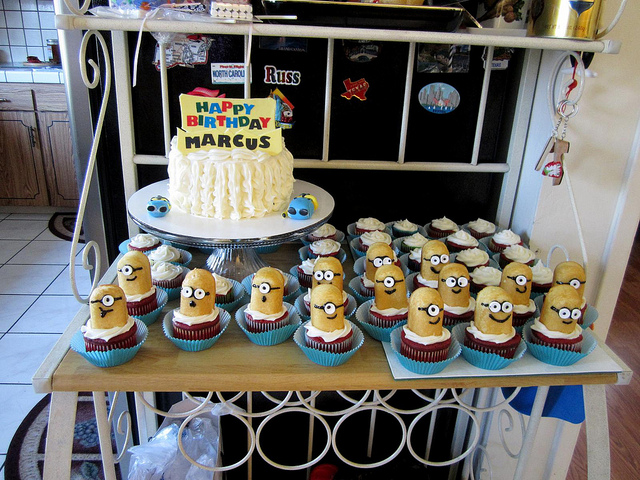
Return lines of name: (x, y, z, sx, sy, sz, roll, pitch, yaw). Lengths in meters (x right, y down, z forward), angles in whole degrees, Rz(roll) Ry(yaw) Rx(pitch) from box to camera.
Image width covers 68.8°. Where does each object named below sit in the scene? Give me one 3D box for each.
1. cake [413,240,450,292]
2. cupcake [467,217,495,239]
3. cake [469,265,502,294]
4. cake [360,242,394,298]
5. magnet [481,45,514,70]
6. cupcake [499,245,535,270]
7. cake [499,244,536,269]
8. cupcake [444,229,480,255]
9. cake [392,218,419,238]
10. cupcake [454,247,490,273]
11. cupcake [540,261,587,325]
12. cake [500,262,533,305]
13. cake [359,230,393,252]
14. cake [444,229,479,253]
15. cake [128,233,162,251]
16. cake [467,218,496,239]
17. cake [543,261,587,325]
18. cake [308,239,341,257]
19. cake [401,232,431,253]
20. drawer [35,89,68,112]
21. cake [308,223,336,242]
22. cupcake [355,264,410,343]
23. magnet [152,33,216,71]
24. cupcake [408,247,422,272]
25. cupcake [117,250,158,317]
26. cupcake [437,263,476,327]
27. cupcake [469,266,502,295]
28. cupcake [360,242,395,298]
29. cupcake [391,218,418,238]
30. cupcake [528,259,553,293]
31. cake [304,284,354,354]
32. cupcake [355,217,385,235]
cake: (0.313, 0.085, 1.270, 0.123, 0.164, 0.118, -2, 9, 2)
cupcake: (0.530, -0.041, 1.531, 0.064, 0.051, 0.071, 8, 12, 24)
cake: (0.444, 0.101, 1.256, 0.079, 0.065, 0.077, 1, 18, 2)
cake: (0.166, 0.086, 1.253, 0.125, 0.162, 0.126, -2, 12, 6)
magnet: (0.543, -0.574, 1.465, 0.068, 0.067, 0.139, 21, 30, 37)
cupcake: (0.571, 0.038, 1.398, 0.090, 0.087, 0.088, 3, 12, -7)
cake: (0.579, 0.044, 1.372, 0.084, 0.073, 0.082, 2, 13, -7)
cupcake: (0.432, 0.003, 1.434, 0.085, 0.058, 0.085, 10, 17, 28)
cake: (0.275, -0.039, 1.517, 0.065, 0.047, 0.064, -15, 26, -34)
cupcake: (0.433, 0.052, 1.334, 0.079, 0.058, 0.080, 2, 18, 5)
cupcake: (0.638, 0.144, 1.213, 0.102, 0.170, 0.100, 3, 13, 7)
cake: (0.504, 0.113, 1.190, 0.080, 0.114, 0.080, -3, 9, -26)
cake: (0.164, -0.005, 1.417, 0.070, 0.053, 0.074, 5, 8, 10)
cake: (0.429, -0.002, 1.433, 0.082, 0.056, 0.082, 10, 17, 29)
cake: (-0.520, 0.004, 1.374, 0.060, 0.025, 0.060, 9, 19, 19)
cake: (0.530, -0.042, 1.532, 0.064, 0.052, 0.072, 5, 11, 14)
cake: (0.642, 0.143, 1.212, 0.103, 0.164, 0.102, 5, 15, 26)
cake: (0.013, 0.020, 1.383, 0.074, 0.039, 0.079, 19, 29, 34)
cake: (0.290, 0.005, 1.443, 0.055, 0.048, 0.072, 2, 11, 4)
drawer: (-1.948, -1.017, 3.381, 0.211, 0.159, 0.031, 0, 24, -4)
cake: (0.011, -0.036, 1.476, 0.066, 0.039, 0.065, 0, 19, -4)
cupcake: (0.173, 0.152, 1.164, 0.185, 0.180, 0.163, -3, 10, 19)
magnet: (-0.406, -0.571, 1.445, 0.149, 0.173, 0.048, 14, -26, 11)
cupcake: (0.277, 0.055, 1.389, 0.060, 0.060, 0.059, 5, 14, 2)
cupcake: (-0.454, 0.112, 1.161, 0.101, 0.165, 0.100, -7, 6, -41)
cupcake: (0.346, 0.144, 1.181, 0.112, 0.150, 0.111, 2, 2, -8)
cupcake: (0.440, 0.100, 1.260, 0.076, 0.066, 0.075, 1, 13, 1)
cupcake: (0.161, 0.087, 1.250, 0.118, 0.154, 0.120, -2, 11, -4)
cupcake: (0.273, -0.040, 1.520, 0.065, 0.053, 0.064, -9, 21, -30)
cupcake: (0.605, 0.104, 1.326, 0.071, 0.080, 0.080, 0, 5, 0)
cake: (0.020, 0.191, 1.081, 0.129, 0.171, 0.129, 2, 9, 10)
cupcake: (0.155, -0.049, 1.500, 0.064, 0.053, 0.063, 3, 11, 4)
